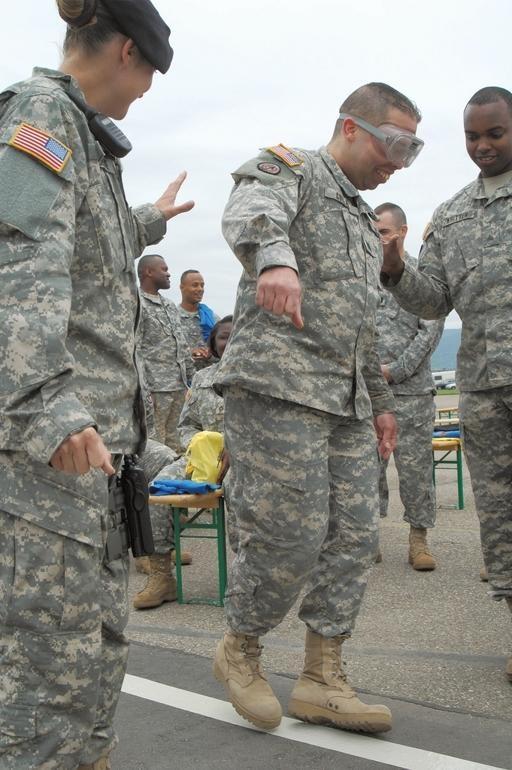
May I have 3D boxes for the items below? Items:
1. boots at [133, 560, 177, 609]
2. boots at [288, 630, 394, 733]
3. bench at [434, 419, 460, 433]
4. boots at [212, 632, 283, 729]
[{"bbox_3d":[-0.602,1.137,4.167,0.148,0.283,0.342,-8,-4,35],"label":"boots"},{"bbox_3d":[0.313,1.027,2.485,0.360,0.291,0.130,-6,-29,32],"label":"boots"},{"bbox_3d":[2.250,0.479,8.399,0.519,0.129,0.469,-1,2,14],"label":"bench"},{"bbox_3d":[-0.041,1.022,2.503,0.144,0.208,0.397,4,5,-35],"label":"boots"}]
